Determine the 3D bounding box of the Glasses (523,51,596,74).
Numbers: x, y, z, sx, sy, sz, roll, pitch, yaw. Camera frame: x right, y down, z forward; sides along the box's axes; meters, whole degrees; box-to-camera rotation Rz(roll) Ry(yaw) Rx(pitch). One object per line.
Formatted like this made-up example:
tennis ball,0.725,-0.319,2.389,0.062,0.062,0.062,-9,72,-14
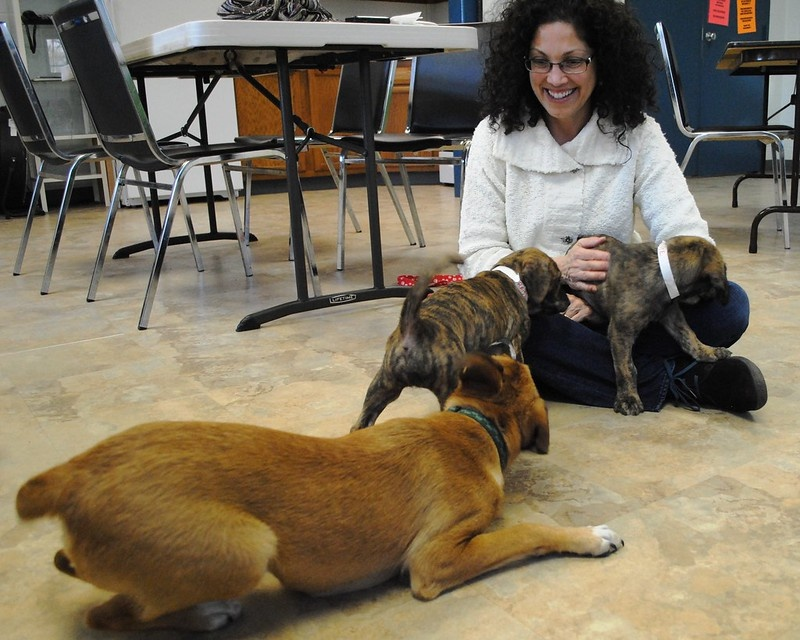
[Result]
Glasses,0.462,-0.735,1.622,0.163,0.063,0.057,2,15,14

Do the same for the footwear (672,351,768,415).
footwear,0.813,0.174,1.594,0.114,0.128,0.339,-39,20,-26

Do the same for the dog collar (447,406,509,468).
dog collar,0.140,0.201,0.995,0.118,0.097,0.042,-9,15,22

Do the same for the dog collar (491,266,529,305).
dog collar,0.287,-0.089,1.451,0.036,0.102,0.073,-51,4,-1

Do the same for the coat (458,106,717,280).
coat,0.508,-0.383,1.698,0.890,0.458,0.514,-5,42,12
